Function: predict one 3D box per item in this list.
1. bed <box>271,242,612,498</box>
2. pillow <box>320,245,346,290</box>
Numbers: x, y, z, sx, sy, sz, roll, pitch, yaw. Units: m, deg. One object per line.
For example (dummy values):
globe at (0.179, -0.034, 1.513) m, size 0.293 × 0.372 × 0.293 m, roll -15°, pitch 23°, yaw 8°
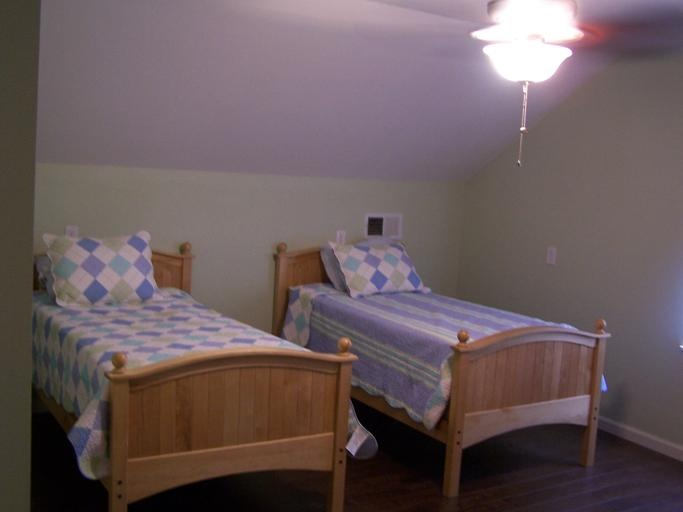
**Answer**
bed at (0.500, 0.343, 3.859) m, size 1.213 × 1.437 × 2.066 m, roll -3°, pitch 9°, yaw -31°
pillow at (-0.057, 0.088, 4.340) m, size 0.069 × 0.294 × 0.259 m, roll -9°, pitch 2°, yaw -22°
